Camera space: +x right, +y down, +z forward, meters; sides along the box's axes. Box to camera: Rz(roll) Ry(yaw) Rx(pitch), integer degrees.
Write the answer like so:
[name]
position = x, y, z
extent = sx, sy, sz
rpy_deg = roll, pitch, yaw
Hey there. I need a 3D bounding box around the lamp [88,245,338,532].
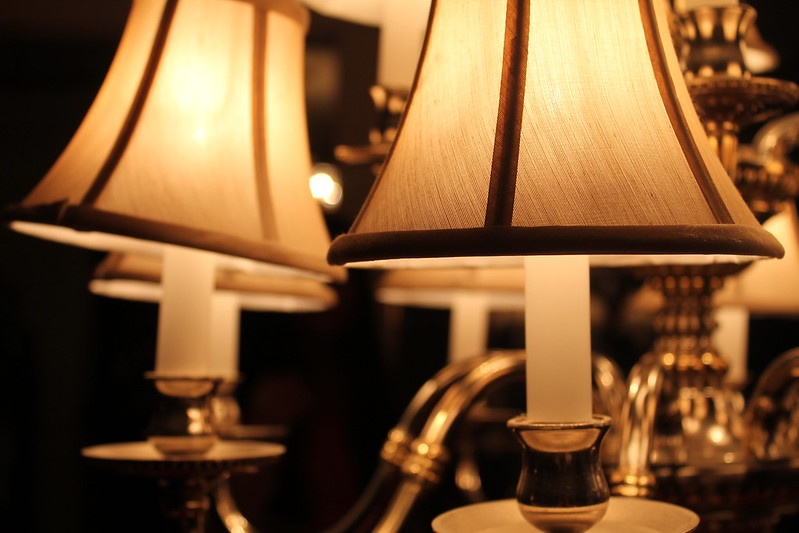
[lamp]
position = -0.225, 0.151, 1.216
extent = 0.357, 0.343, 0.350
rpy_deg = 4, -3, -23
